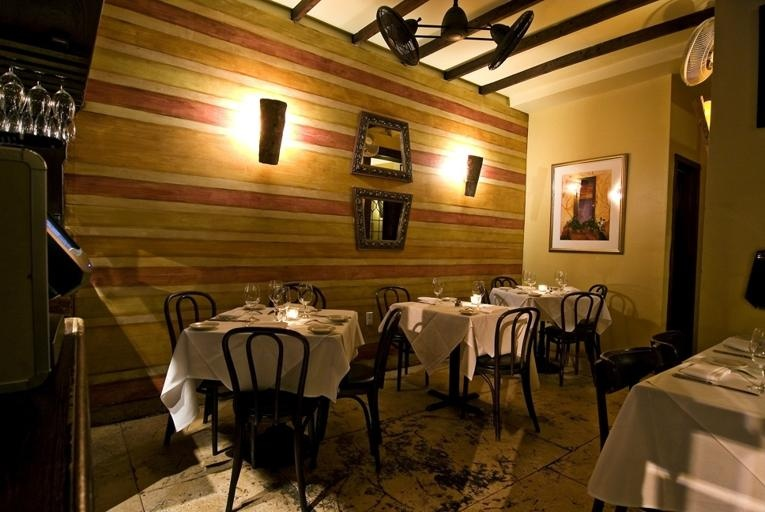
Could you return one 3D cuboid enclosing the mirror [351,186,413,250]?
[{"bbox_3d":[-0.005,-0.403,5.782,0.025,0.667,0.908,8,6,43],"label":"mirror"}]

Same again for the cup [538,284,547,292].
[{"bbox_3d":[1.910,0.383,6.043,0.101,0.064,0.098,1,3,0],"label":"cup"}]

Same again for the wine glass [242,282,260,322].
[{"bbox_3d":[-1.028,0.350,3.961,0.117,0.267,0.639,-3,14,-16],"label":"wine glass"}]

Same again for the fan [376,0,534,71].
[{"bbox_3d":[0.680,-2.165,4.930,1.096,0.440,0.878,7,33,7],"label":"fan"}]

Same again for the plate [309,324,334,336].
[{"bbox_3d":[-0.435,0.515,3.567,0.175,0.020,0.189,0,13,-7],"label":"plate"}]

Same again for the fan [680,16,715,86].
[{"bbox_3d":[2.450,-1.568,3.917,0.460,0.438,0.125,4,17,-39],"label":"fan"}]

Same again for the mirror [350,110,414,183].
[{"bbox_3d":[-0.047,-1.230,5.736,0.946,0.766,0.077,5,-3,-42],"label":"mirror"}]

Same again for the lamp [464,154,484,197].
[{"bbox_3d":[1.207,-1.049,6.680,0.142,0.536,0.367,10,17,32],"label":"lamp"}]

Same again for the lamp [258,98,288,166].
[{"bbox_3d":[-1.075,-1.177,4.867,0.265,0.627,0.133,-2,15,-13],"label":"lamp"}]

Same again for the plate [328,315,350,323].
[{"bbox_3d":[-0.342,0.476,3.894,0.167,0.027,0.180,-1,13,-8],"label":"plate"}]

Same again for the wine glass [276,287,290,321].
[{"bbox_3d":[-0.773,0.348,3.841,0.105,0.234,0.271,-1,14,-10],"label":"wine glass"}]

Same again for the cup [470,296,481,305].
[{"bbox_3d":[0.880,0.406,4.778,0.087,0.093,0.084,1,8,0],"label":"cup"}]

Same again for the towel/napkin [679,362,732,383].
[{"bbox_3d":[1.805,0.654,2.848,0.137,0.020,0.141,-9,10,-38],"label":"towel/napkin"}]
